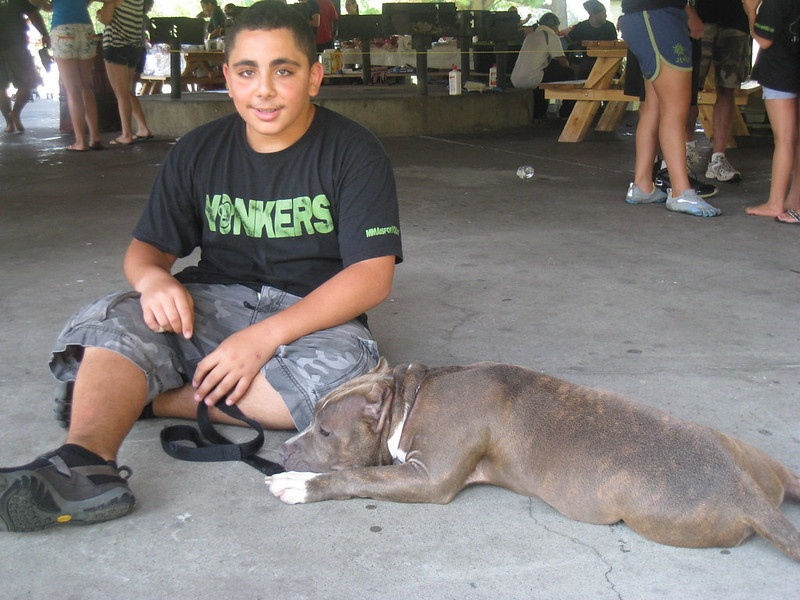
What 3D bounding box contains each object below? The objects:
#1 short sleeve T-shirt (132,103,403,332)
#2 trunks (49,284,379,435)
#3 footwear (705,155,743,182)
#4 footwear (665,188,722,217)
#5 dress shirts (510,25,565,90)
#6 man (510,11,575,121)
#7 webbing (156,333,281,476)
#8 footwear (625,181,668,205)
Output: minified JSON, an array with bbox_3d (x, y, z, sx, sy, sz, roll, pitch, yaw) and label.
[{"bbox_3d":[-0.393,-0.304,2.294,1.089,0.662,0.471,7,31,26],"label":"short sleeve T-shirt"},{"bbox_3d":[-0.708,0.152,2.429,0.380,0.507,1.009,-12,-26,13],"label":"trunks"},{"bbox_3d":[2.846,-1.134,5.781,0.178,0.184,0.430,-8,13,-11],"label":"footwear"},{"bbox_3d":[2.048,-0.669,4.659,0.413,0.143,0.153,13,14,33],"label":"footwear"},{"bbox_3d":[2.105,-3.728,10.211,0.568,0.921,0.848,10,23,27],"label":"dress shirts"},{"bbox_3d":[2.364,-3.785,10.585,1.118,1.339,0.940,5,27,6],"label":"man"},{"bbox_3d":[-0.620,0.342,1.968,0.286,0.508,0.077,-32,-16,-28],"label":"webbing"},{"bbox_3d":[1.873,-0.791,5.067,0.387,0.124,0.142,-5,14,-20],"label":"footwear"}]
